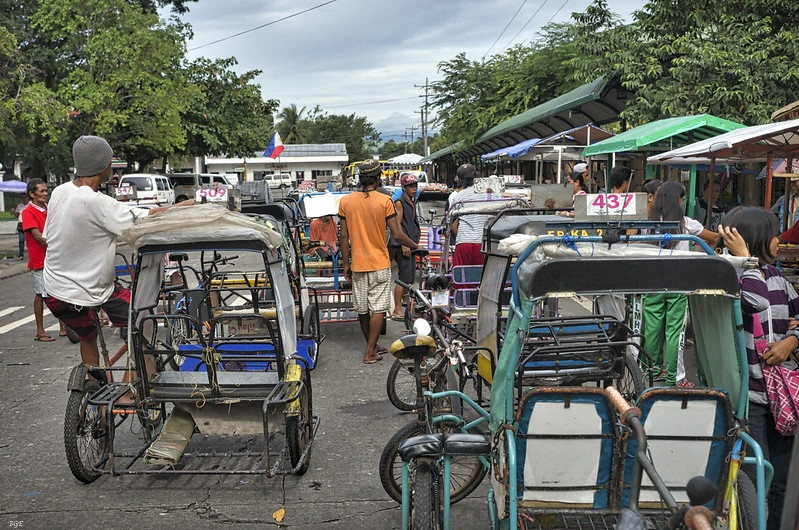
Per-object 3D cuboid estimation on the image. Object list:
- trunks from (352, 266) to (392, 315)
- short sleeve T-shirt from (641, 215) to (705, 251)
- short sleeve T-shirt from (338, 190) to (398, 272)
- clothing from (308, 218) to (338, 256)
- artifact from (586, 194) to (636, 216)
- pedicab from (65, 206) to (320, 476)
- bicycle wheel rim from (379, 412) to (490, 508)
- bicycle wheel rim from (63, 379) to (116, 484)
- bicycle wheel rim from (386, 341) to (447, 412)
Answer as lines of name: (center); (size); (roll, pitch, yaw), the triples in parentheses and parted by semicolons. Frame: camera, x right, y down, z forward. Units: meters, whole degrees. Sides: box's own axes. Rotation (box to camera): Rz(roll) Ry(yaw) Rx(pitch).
trunks: (-0.346, 0.305, 10.319); (0.571, 0.704, 0.409); (3, 7, 21)
short sleeve T-shirt: (2.647, -0.314, 8.015); (0.528, 0.469, 0.265); (-1, 0, 3)
short sleeve T-shirt: (-0.399, -0.434, 10.421); (0.742, 0.970, 0.361); (1, 5, 15)
clothing: (-1.229, -0.445, 13.269); (0.640, 0.638, 0.348); (1, -12, -7)
artifact: (1.888, -0.534, 7.277); (0.450, 0.197, 0.111); (-4, 7, -18)
pedicab: (-1.781, 0.663, 8.711); (2.688, 2.577, 3.692); (2, 7, 15)
bicycle wheel rim: (0.315, 1.769, 7.213); (0.971, 0.923, 0.178); (-11, 25, -9)
bicycle wheel rim: (-2.923, 1.583, 7.783); (0.368, 0.958, 0.523); (-2, 7, 1)
bicycle wheel rim: (0.143, 0.977, 7.315); (0.641, 0.680, 0.313); (-10, 17, -33)
